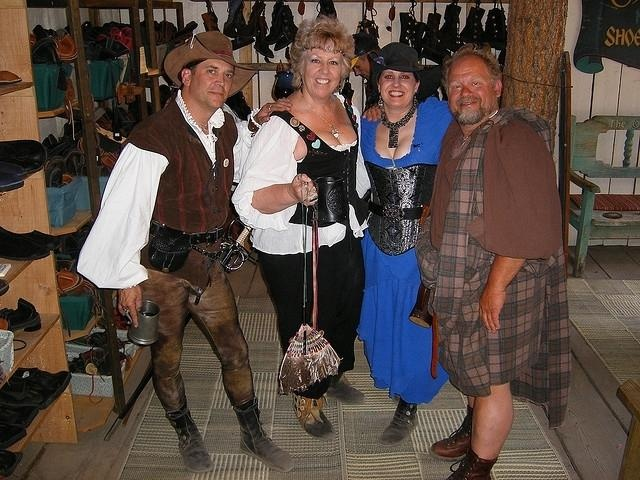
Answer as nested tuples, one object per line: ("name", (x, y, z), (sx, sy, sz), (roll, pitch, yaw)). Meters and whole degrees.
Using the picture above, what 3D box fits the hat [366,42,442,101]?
("hat", (0.472, -0.872, 2.573), (0.302, 0.371, 0.146), (10, 63, 14))

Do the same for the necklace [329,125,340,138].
("necklace", (0.069, -0.500, 2.323), (0.037, 0.054, 0.059), (4, 17, 19))

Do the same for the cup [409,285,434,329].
("cup", (0.501, 0.325, 2.395), (0.078, 0.238, 0.170), (6, 52, 28))

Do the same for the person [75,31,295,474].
("person", (-0.673, 0.144, 2.431), (0.848, 2.178, 0.403), (-6, 16, -15))

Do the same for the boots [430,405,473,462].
("boots", (0.800, 1.063, 2.746), (0.344, 0.274, 0.147), (-1, 14, -13))

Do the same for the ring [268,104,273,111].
("ring", (-0.232, -0.609, 2.301), (0.021, 0.030, 0.009), (-10, -15, 27))

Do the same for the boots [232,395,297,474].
("boots", (-0.241, 0.993, 2.782), (0.449, 0.451, 0.213), (11, 24, 22))

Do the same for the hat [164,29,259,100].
("hat", (-0.493, -0.823, 2.303), (0.392, 0.163, 0.364), (13, -31, -16))

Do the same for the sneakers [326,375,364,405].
("sneakers", (0.168, 0.930, 3.143), (0.273, 0.206, 0.117), (2, 14, 12))
